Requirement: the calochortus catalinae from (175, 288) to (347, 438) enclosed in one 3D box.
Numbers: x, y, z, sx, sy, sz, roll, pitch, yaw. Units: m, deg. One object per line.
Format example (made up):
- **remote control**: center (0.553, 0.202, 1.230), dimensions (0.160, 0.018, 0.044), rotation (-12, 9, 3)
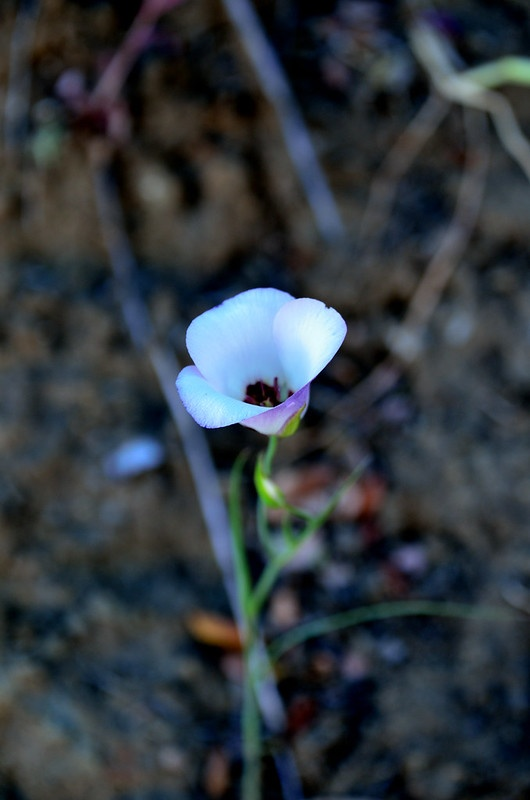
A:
- **calochortus catalinae**: center (0.021, -0.037, 1.259), dimensions (0.270, 0.226, 0.252), rotation (10, 68, 35)
